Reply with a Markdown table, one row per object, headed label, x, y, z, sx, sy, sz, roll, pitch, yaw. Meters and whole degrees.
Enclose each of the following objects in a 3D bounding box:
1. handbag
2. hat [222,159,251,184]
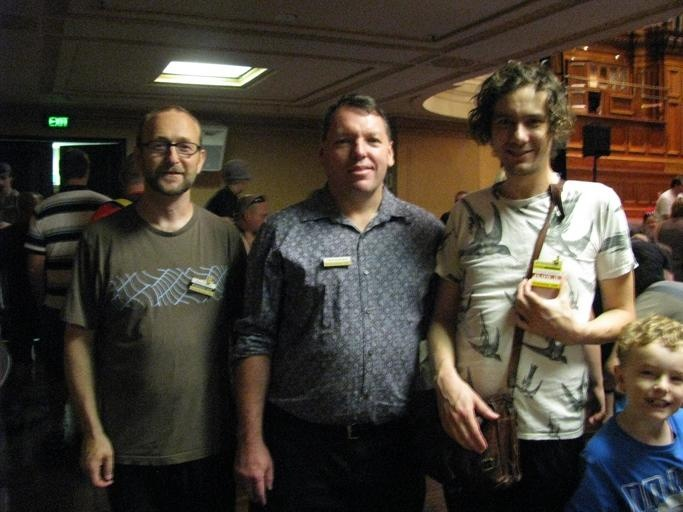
| label | x | y | z | sx | sy | sz | roll | pitch | yaw |
| --- | --- | --- | --- | --- | --- | --- | --- | --- | --- |
| handbag | 0.559 | 0.663 | 2.094 | 0.334 | 0.346 | 0.126 | -8 | -3 | 23 |
| hat | -1.065 | -0.875 | 5.500 | 0.204 | 0.209 | 0.269 | 0 | 4 | 5 |
